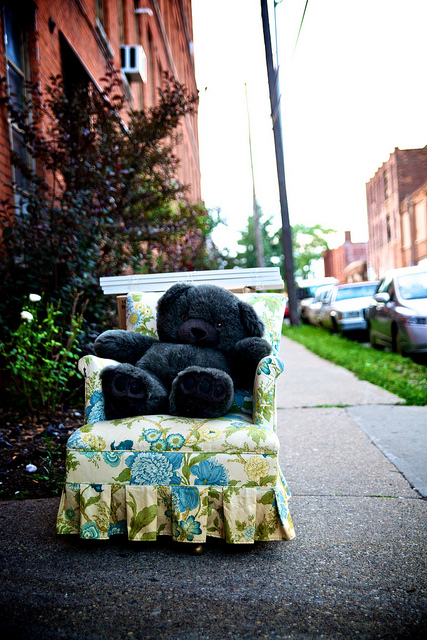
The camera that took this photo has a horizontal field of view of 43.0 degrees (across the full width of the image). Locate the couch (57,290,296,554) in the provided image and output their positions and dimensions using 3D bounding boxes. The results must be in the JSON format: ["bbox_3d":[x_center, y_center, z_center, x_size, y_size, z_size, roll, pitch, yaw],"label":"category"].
[{"bbox_3d":[-0.156,0.394,2.628,1.089,1.093,1.084,-2,-5,26],"label":"couch"}]

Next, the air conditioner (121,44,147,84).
[{"bbox_3d":[-1.651,-5.275,11.178,0.416,0.758,0.618,0,4,8],"label":"air conditioner"}]
